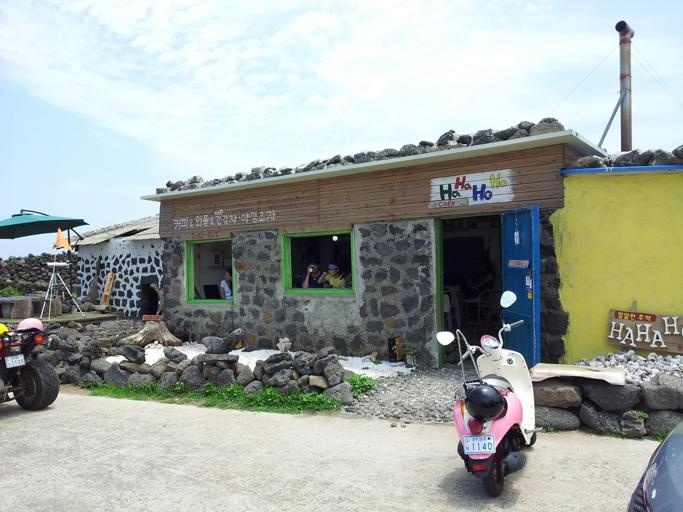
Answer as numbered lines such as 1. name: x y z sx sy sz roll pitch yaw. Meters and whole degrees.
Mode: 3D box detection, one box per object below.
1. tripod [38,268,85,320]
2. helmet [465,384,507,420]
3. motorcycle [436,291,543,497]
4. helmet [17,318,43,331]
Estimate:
1. tripod: -8.644 0.786 15.471 1.025 1.325 0.760 2 19 -15
2. helmet: 1.512 1.505 5.212 0.460 0.356 0.255 -1 7 2
3. motorcycle: 1.684 1.452 5.651 0.993 1.967 1.573 2 8 22
4. helmet: -5.126 1.142 8.293 0.277 0.277 0.347 14 -18 -38
